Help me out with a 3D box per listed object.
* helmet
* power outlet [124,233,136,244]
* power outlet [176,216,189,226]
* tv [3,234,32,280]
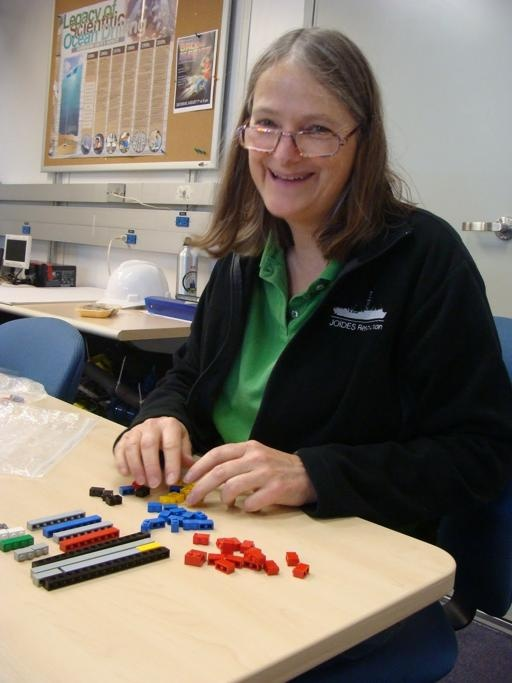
[{"bbox_3d":[-0.629,-0.302,2.819,0.382,0.232,0.293,-5,10,-26],"label":"helmet"},{"bbox_3d":[-0.729,-0.603,3.159,0.060,0.051,0.033,16,19,42],"label":"power outlet"},{"bbox_3d":[-0.385,-0.636,2.892,0.083,0.055,0.020,8,2,34],"label":"power outlet"},{"bbox_3d":[-1.495,-0.526,3.387,0.151,0.291,0.367,3,4,-26],"label":"tv"}]
